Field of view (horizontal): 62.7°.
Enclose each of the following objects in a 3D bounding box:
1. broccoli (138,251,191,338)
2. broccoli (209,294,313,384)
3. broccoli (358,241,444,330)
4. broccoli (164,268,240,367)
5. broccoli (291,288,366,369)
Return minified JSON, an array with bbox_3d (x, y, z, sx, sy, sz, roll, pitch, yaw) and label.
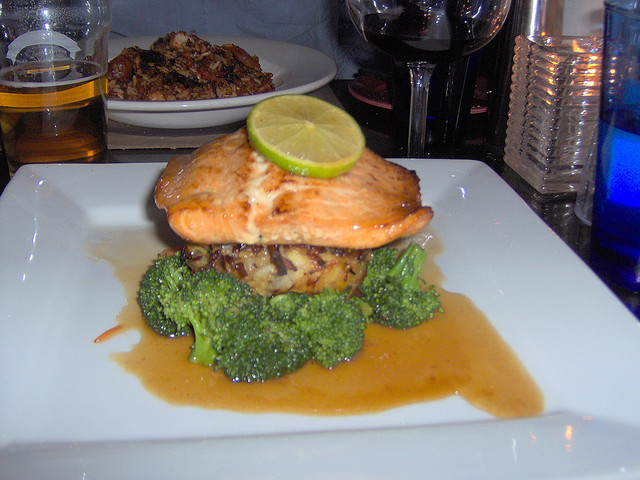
[{"bbox_3d":[-0.523,0.202,1.977,0.241,0.257,0.112,-12,0,8],"label":"broccoli"},{"bbox_3d":[-0.222,0.348,1.789,0.259,0.118,0.319,-21,69,-19],"label":"broccoli"},{"bbox_3d":[0.296,0.194,2.073,0.269,0.132,0.330,21,50,2],"label":"broccoli"},{"bbox_3d":[-0.395,0.275,1.946,0.262,0.318,0.281,-16,-11,36],"label":"broccoli"},{"bbox_3d":[0.039,0.301,1.849,0.228,0.080,0.257,6,68,-11],"label":"broccoli"}]
